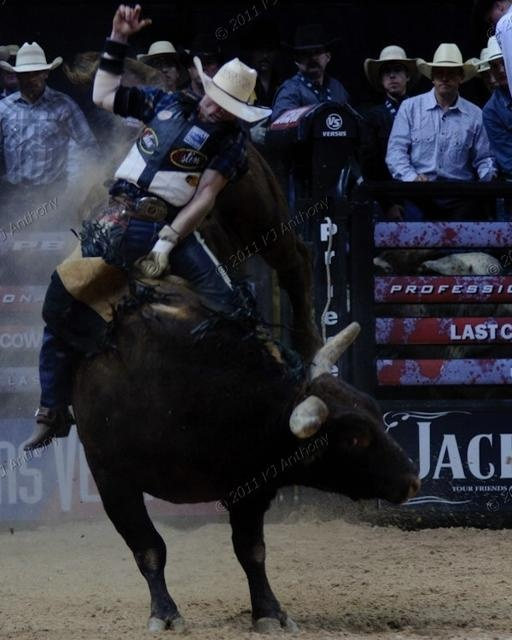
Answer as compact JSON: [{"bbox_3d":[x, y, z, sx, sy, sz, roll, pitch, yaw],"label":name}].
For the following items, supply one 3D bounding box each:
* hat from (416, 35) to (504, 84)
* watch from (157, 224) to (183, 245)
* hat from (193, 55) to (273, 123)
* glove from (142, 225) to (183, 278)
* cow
[{"bbox_3d":[1.412,-1.811,8.722,0.401,0.156,0.445,-1,-11,10],"label":"hat"},{"bbox_3d":[-0.401,-0.386,5.512,0.068,0.062,0.088,46,-8,-24],"label":"watch"},{"bbox_3d":[-0.129,-1.067,5.627,0.378,0.277,0.277,4,10,-16],"label":"hat"},{"bbox_3d":[-0.432,-0.309,5.533,0.151,0.252,0.076,47,22,17],"label":"glove"},{"bbox_3d":[-0.157,0.335,5.756,1.678,2.225,0.809,8,11,4],"label":"cow"}]
